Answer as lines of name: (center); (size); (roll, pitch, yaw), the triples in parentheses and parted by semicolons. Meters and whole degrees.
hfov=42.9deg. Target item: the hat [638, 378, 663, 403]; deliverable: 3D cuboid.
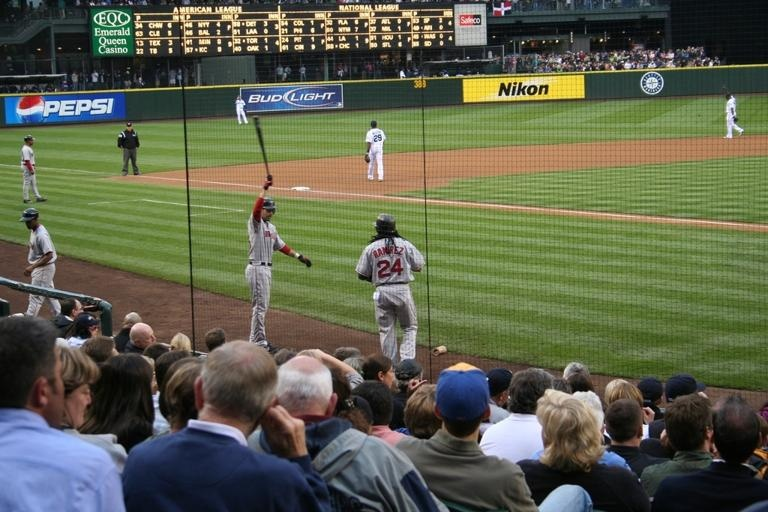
hat: (3.379, 1.701, 12.493); (0.278, 0.196, 0.378); (5, 22, 20)

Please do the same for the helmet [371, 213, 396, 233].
helmet: (-0.018, -0.480, 15.146); (0.308, 0.302, 0.317); (-2, 22, -7)

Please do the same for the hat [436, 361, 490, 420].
hat: (0.761, 1.310, 9.697); (0.410, 0.536, 0.563); (-1, 21, 5)

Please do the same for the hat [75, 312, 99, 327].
hat: (-4.100, 0.884, 13.471); (0.242, 0.114, 0.163); (2, 26, -22)

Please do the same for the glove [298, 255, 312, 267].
glove: (-1.380, 0.039, 16.807); (0.284, 0.116, 0.156); (39, -11, 5)

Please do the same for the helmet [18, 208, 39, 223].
helmet: (-6.265, -0.718, 17.295); (0.237, 0.216, 0.426); (-2, 5, -25)
